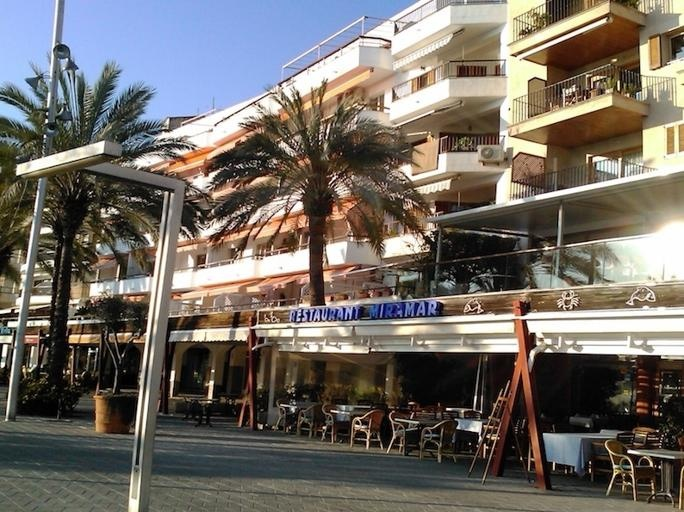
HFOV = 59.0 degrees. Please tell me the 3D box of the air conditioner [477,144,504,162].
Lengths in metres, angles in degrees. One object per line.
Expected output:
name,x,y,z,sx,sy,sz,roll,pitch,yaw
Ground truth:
air conditioner,6.896,-4.640,28.187,1.332,0.863,0.728,-1,-11,9
